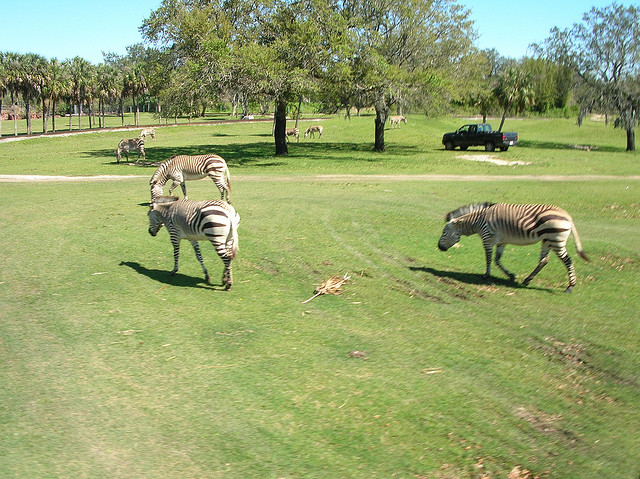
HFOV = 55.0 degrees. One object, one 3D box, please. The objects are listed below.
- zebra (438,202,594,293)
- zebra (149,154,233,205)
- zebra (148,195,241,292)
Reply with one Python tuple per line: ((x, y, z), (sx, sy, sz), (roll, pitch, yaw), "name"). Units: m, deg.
((4.577, 0.088, 14.914), (2.964, 2.023, 0.755), (10, 14, 38), "zebra")
((-4.815, -2.012, 23.026), (2.634, 2.138, 2.652), (2, 13, -1), "zebra")
((-3.059, -0.040, 15.041), (3.290, 1.976, 0.923), (8, 16, 38), "zebra")
